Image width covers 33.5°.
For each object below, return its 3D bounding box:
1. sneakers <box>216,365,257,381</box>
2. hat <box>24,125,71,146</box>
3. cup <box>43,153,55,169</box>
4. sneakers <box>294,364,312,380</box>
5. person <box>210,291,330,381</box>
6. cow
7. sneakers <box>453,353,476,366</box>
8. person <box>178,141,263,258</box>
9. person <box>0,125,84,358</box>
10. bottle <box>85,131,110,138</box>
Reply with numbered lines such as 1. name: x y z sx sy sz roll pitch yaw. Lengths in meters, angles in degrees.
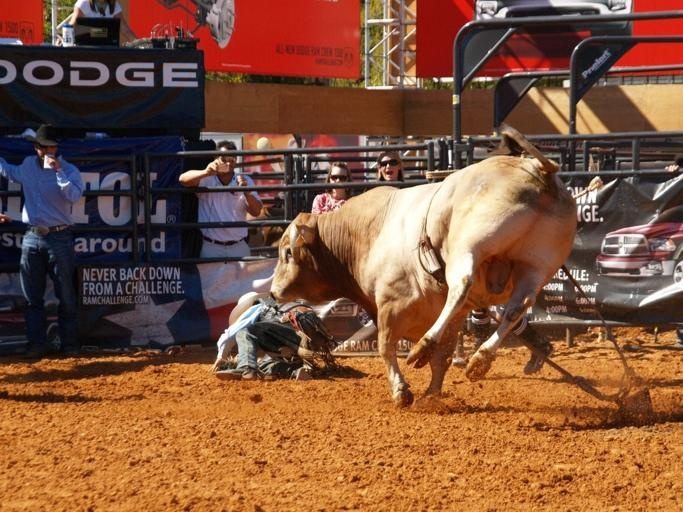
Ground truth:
1. sneakers: -1.202 1.334 12.797 0.512 0.164 0.197 1 40 2
2. hat: -3.624 -1.432 13.770 0.496 0.220 0.546 7 5 -27
3. cup: -3.506 -1.113 13.548 0.137 0.124 0.175 0 -3 3
4. sneakers: -0.450 1.347 12.891 0.156 0.126 0.150 -7 -30 -8
5. person: -0.794 0.998 13.028 1.072 0.395 1.019 3 -15 -31
6. cow: 0.717 0.301 11.770 1.368 2.395 3.993 17 -25 -38
7. sneakers: 1.385 1.237 13.290 0.295 0.129 0.338 -1 -3 -13
8. person: -1.541 -0.310 14.436 1.022 2.208 0.746 0 -6 -9
9. person: -3.597 -0.184 13.944 0.835 2.838 0.722 -6 14 -16
10. bottle: -3.327 -1.629 15.372 0.237 0.066 0.124 0 0 -1
